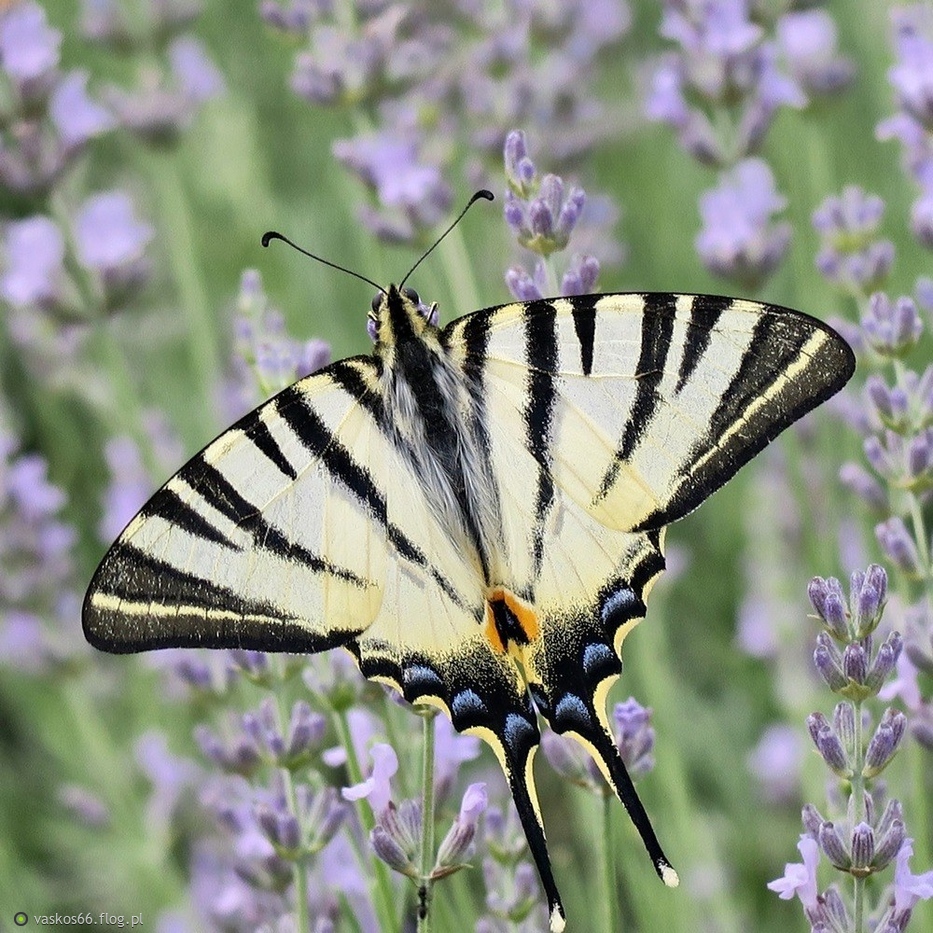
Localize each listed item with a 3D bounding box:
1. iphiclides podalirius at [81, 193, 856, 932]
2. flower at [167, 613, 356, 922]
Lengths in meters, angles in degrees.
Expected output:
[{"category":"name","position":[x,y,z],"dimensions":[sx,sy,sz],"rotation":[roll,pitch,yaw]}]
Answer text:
[{"category":"iphiclides podalirius","position":[0.009,0.042,2.006],"dimensions":[0.918,0.745,0.324],"rotation":[17,-4,6]},{"category":"flower","position":[-0.311,0.472,2.237],"dimensions":[0.250,0.531,0.286],"rotation":[-6,21,9]}]
